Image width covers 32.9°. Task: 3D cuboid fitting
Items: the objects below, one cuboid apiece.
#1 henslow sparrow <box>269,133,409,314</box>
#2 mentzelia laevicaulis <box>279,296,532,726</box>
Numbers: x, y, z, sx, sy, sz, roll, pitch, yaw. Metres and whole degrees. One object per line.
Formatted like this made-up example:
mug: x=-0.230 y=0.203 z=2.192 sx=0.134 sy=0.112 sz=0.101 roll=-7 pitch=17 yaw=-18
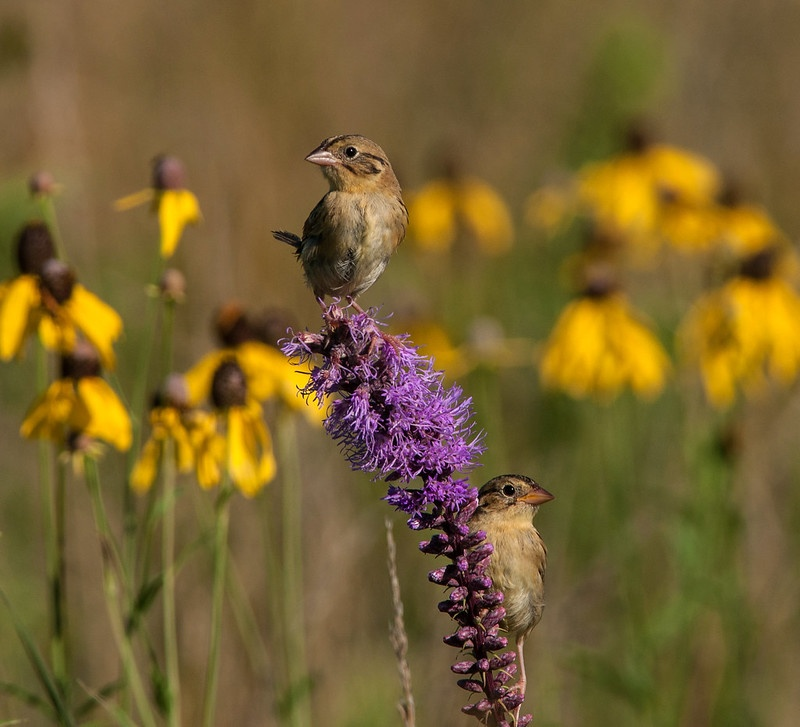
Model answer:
henslow sparrow: x=-0.200 y=-0.489 z=4.432 sx=0.305 sy=0.630 sz=0.558 roll=1 pitch=14 yaw=-23
mentzelia laevicaulis: x=0.038 y=0.366 z=3.598 sx=0.573 sy=1.195 sz=0.730 roll=-4 pitch=-12 yaw=9
